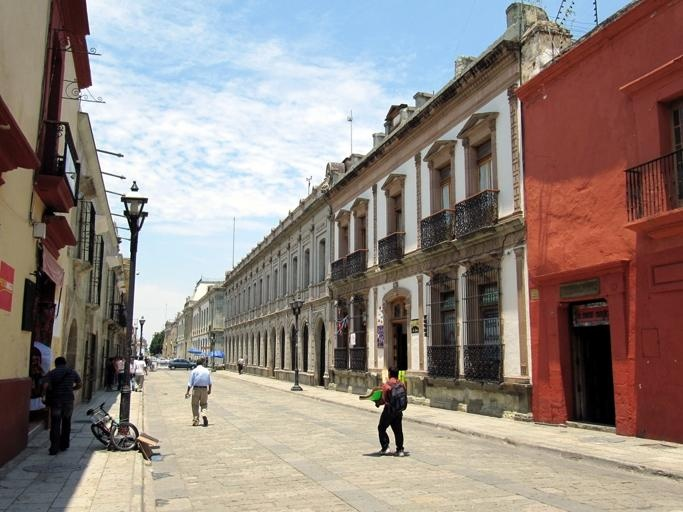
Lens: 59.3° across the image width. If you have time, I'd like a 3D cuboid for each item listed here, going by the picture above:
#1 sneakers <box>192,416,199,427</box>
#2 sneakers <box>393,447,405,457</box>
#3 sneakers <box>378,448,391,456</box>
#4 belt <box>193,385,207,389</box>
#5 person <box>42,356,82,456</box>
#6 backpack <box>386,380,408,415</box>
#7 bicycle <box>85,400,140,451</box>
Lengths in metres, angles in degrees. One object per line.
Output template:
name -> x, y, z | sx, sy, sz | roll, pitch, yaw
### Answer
sneakers -> -4.114, 4.639, 16.866 | 0.202, 0.276, 0.515 | 6, -16, -12
sneakers -> 1.213, 4.078, 12.456 | 0.183, 0.202, 0.118 | -1, -11, 7
sneakers -> 0.910, 4.092, 12.543 | 0.303, 0.152, 0.118 | 2, -8, -16
belt -> -3.987, 3.651, 16.802 | 0.365, 0.116, 0.090 | 7, -15, -10
person -> -6.081, 3.179, 12.871 | 0.720, 2.012, 0.758 | 10, -16, -26
backpack -> 1.164, 2.963, 12.582 | 0.403, 0.604, 0.308 | -6, 7, -44
bicycle -> -5.089, 3.788, 13.353 | 1.570, 1.090, 0.851 | 2, -5, 14
